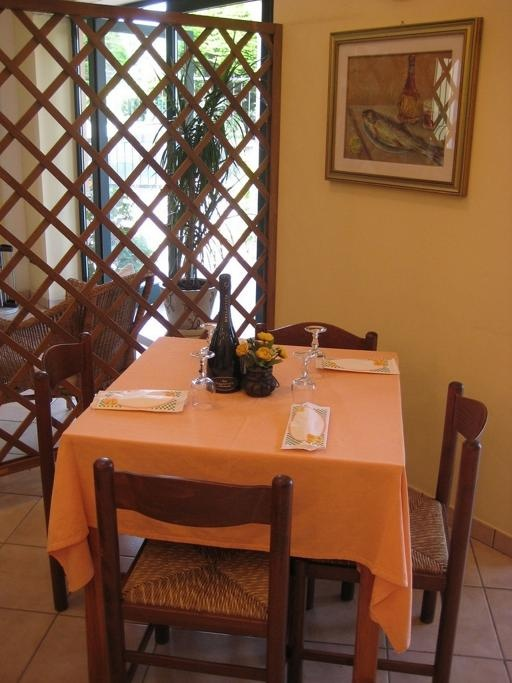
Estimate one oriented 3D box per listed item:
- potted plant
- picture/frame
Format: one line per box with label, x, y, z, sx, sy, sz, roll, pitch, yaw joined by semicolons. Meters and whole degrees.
potted plant;-0.196;-0.747;2.614;0.506;1.449;1.013;2;13;-7
picture/frame;0.478;-0.750;1.763;0.032;0.528;0.625;-16;28;-36
